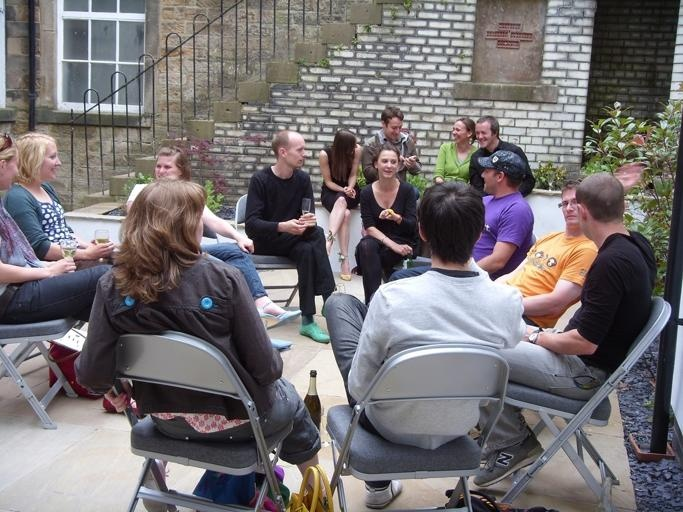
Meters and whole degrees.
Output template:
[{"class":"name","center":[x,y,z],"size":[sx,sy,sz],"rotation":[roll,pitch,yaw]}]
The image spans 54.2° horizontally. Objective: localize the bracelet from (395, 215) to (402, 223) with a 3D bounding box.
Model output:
[{"class":"bracelet","center":[0.503,-0.328,5.821],"size":[0.046,0.060,0.064],"rotation":[0,3,1]}]

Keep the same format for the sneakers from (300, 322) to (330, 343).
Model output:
[{"class":"sneakers","center":[-0.224,0.613,5.564],"size":[0.115,0.158,0.340],"rotation":[-17,13,-32]}]

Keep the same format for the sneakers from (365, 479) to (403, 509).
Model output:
[{"class":"sneakers","center":[0.237,1.247,3.598],"size":[0.091,0.160,0.221],"rotation":[4,11,28]}]

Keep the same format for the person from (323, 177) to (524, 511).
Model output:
[{"class":"person","center":[0.355,0.534,3.114],"size":[0.927,1.722,0.645],"rotation":[4,13,12]}]

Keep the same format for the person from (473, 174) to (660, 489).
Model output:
[{"class":"person","center":[1.152,0.423,3.660],"size":[0.906,1.753,0.721],"rotation":[8,4,25]}]

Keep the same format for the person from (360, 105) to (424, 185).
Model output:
[{"class":"person","center":[0.584,-1.023,7.666],"size":[0.613,1.266,0.724],"rotation":[0,18,1]}]

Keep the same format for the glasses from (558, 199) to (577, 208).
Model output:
[{"class":"glasses","center":[1.410,-0.324,4.155],"size":[0.134,0.051,0.144],"rotation":[3,9,36]}]

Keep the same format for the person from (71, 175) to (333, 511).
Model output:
[{"class":"person","center":[-0.609,0.605,3.547],"size":[0.905,1.837,1.536],"rotation":[0,-1,22]}]

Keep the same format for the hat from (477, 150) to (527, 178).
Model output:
[{"class":"hat","center":[1.111,-0.630,4.630],"size":[0.259,0.147,0.191],"rotation":[13,14,11]}]

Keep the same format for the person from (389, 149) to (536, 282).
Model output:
[{"class":"person","center":[0.829,-0.427,5.077],"size":[1.039,1.436,0.741],"rotation":[4,15,2]}]
